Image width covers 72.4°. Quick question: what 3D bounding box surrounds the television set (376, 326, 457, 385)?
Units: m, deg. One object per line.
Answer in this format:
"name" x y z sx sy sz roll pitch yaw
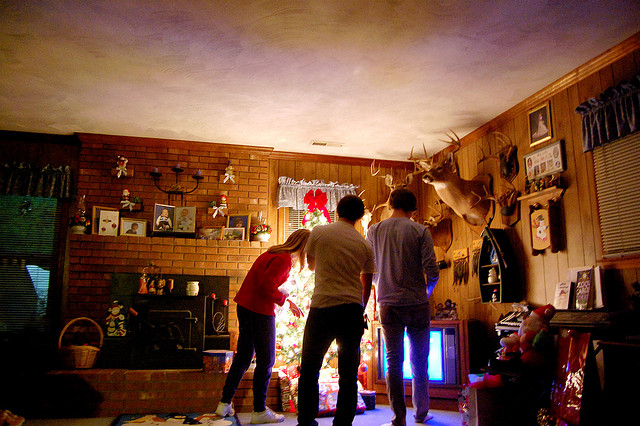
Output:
"television set" 1.274 1.923 5.656 1.060 0.870 0.583 -3 -38 14

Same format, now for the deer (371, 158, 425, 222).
"deer" 1.073 -0.323 6.166 0.632 0.847 1.134 5 10 10

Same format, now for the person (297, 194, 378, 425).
"person" 0.159 0.793 3.740 0.635 1.934 0.340 2 -7 -3

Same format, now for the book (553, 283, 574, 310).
"book" 2.514 0.853 4.541 0.105 0.265 0.200 5 -8 -24

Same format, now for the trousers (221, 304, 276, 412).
"trousers" -0.696 1.373 4.411 0.498 1.273 0.396 3 -4 19

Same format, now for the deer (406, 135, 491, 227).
"deer" 1.789 -0.474 5.958 1.082 1.509 0.744 2 -24 -27

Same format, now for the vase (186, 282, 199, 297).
"vase" -1.695 1.005 5.838 0.153 0.179 0.285 4 -7 -15

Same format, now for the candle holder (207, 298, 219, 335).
"candle holder" -1.480 1.405 5.983 0.053 0.486 0.076 -3 -9 33

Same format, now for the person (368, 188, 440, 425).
"person" 0.781 0.992 4.240 0.661 1.906 0.427 1 -7 6

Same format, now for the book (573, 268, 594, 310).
"book" 2.614 0.748 4.384 0.159 0.403 0.209 4 -7 -14

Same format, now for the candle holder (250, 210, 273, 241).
"candle holder" -0.869 0.200 6.470 0.343 0.473 0.351 5 1 33

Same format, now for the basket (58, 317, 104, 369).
"basket" -3.054 1.575 5.587 0.549 0.679 0.603 2 -11 -10
